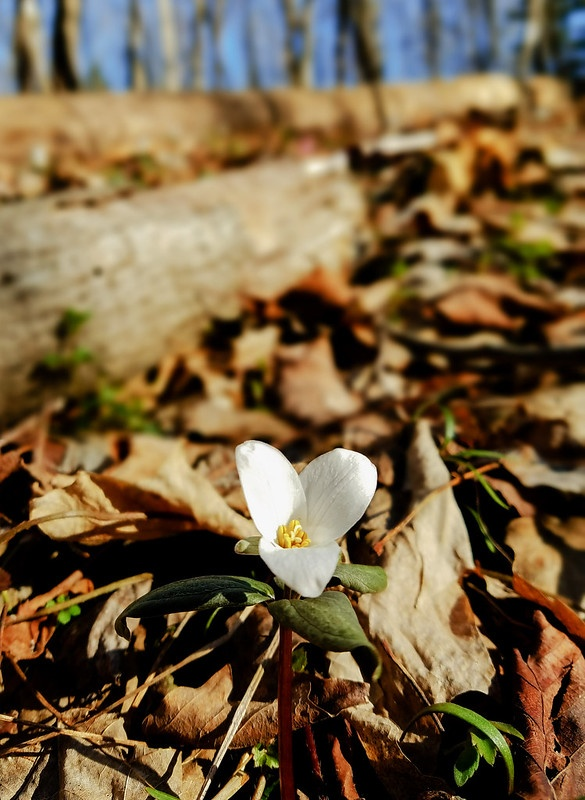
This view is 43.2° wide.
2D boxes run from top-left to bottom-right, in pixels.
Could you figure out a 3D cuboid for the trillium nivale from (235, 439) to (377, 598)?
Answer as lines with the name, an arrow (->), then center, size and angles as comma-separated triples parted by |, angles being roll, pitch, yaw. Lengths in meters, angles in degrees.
trillium nivale -> -0.003, 0.249, 1.357 | 0.275, 0.171, 0.272 | 8, 56, -2
